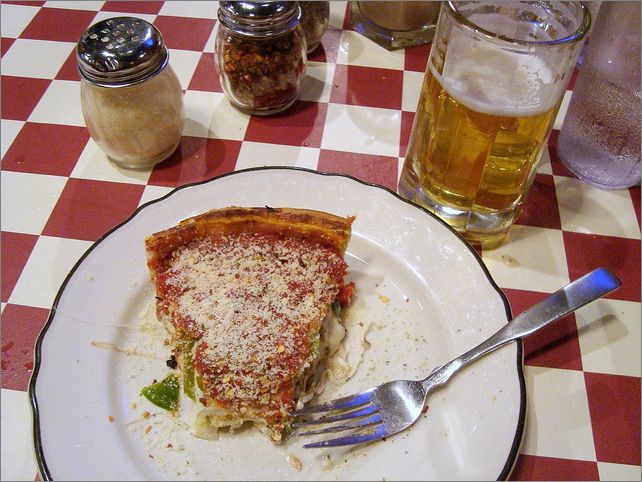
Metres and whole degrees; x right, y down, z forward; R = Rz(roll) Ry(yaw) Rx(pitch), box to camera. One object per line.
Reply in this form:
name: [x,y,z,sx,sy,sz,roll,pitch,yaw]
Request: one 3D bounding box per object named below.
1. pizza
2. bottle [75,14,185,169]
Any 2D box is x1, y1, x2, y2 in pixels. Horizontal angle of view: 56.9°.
pizza: [-0.211,0.196,1.611,0.562,0.212,0.683,3,42,-1]
bottle: [-0.610,-0.479,1.882,0.306,0.444,0.307,4,56,-6]
